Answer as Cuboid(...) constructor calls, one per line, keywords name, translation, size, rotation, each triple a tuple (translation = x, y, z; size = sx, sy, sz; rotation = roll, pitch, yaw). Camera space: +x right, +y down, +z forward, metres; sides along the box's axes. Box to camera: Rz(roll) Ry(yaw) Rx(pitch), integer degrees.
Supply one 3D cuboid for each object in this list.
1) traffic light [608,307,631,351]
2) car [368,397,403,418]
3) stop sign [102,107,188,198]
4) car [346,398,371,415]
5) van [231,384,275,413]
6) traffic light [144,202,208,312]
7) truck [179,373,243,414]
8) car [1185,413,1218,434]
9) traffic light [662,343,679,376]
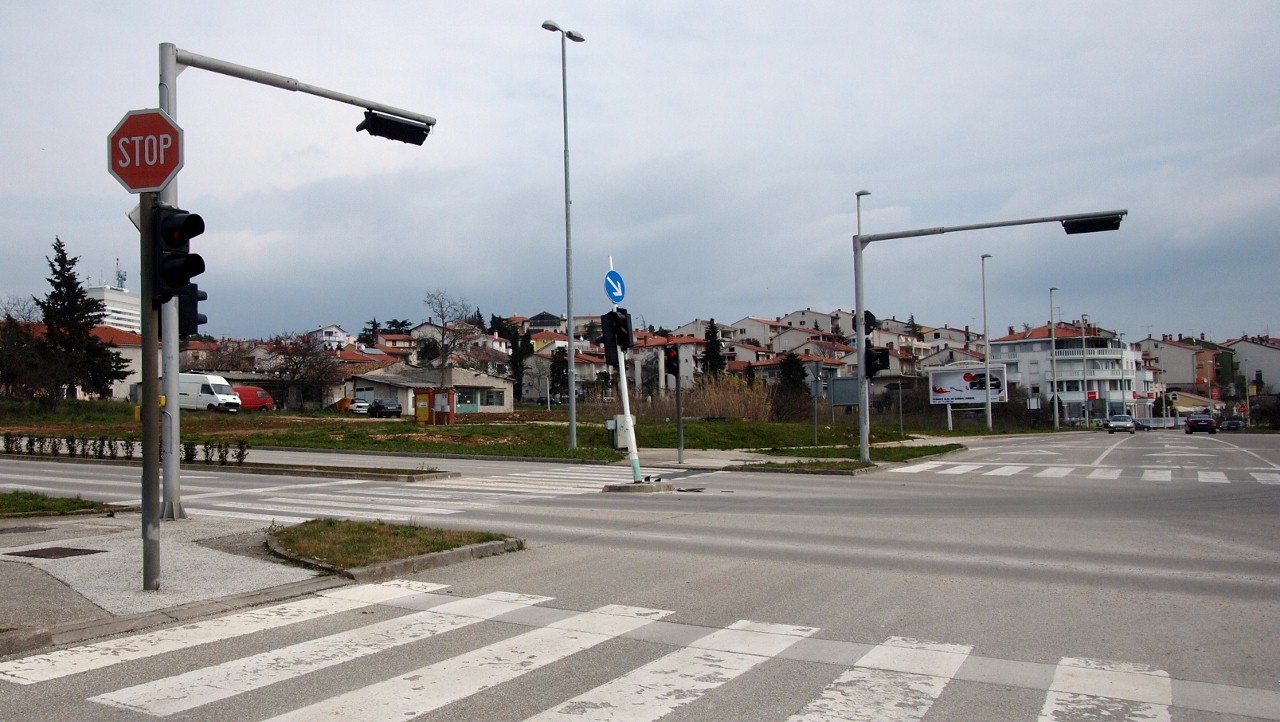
Cuboid(name="traffic light", translation=(-0.484, -0.841, 27.188), size=(0.512, 1.048, 0.398), rotation=(-4, 12, -23))
Cuboid(name="car", translation=(-18.171, 3.291, 74.331), size=(1.558, 1.006, 2.325), rotation=(-1, 3, -38))
Cuboid(name="stop sign", translation=(-7.838, -3.356, 16.751), size=(1.225, 1.315, 0.591), rotation=(4, 11, 17))
Cuboid(name="car", translation=(-20.549, 3.307, 77.347), size=(1.354, 0.601, 2.100), rotation=(1, -4, -24))
Cuboid(name="van", translation=(-26.022, 2.619, 71.290), size=(3.387, 1.551, 1.956), rotation=(-3, 6, -29))
Cuboid(name="traffic light", translation=(-7.198, -1.623, 16.398), size=(0.797, 1.570, 0.578), rotation=(-1, 11, -11))
Cuboid(name="truck", translation=(-25.141, 1.942, 61.487), size=(4.933, 2.308, 2.478), rotation=(-2, -3, 26))
Cuboid(name="car", translation=(39.912, 4.430, 75.011), size=(1.910, 1.237, 4.004), rotation=(-1, 0, 27))
Cuboid(name="traffic light", translation=(0.966, -0.081, 32.983), size=(0.376, 0.867, 0.667), rotation=(0, 10, -2))
